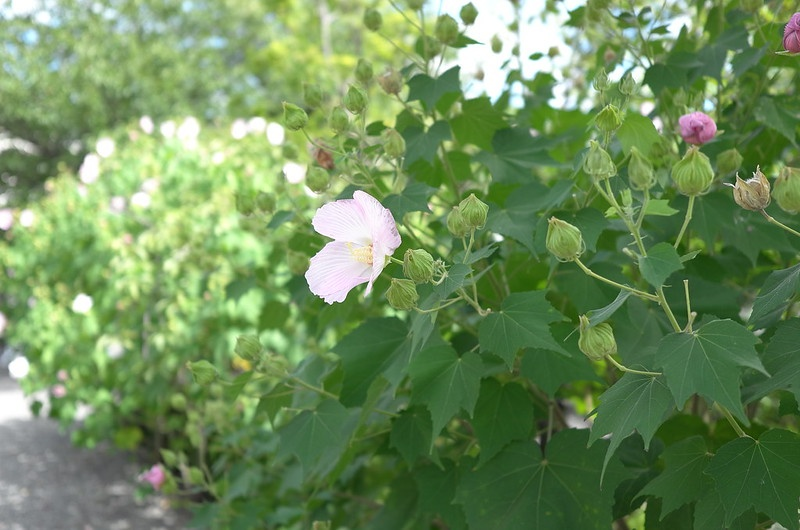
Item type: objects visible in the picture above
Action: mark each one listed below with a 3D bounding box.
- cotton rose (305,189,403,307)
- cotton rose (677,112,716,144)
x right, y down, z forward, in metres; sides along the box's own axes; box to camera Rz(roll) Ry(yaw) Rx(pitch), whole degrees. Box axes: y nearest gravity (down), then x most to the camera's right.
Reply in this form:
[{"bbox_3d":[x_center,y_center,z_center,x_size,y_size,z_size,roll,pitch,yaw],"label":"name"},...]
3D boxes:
[{"bbox_3d":[-0.162,-0.144,2.654,0.349,0.183,0.372,30,-4,9],"label":"cotton rose"},{"bbox_3d":[1.088,-0.488,2.760,0.143,0.107,0.105,19,-3,-31],"label":"cotton rose"}]
